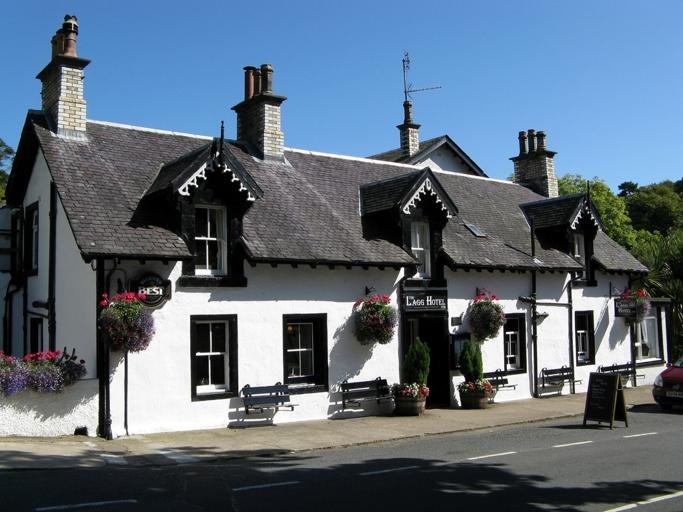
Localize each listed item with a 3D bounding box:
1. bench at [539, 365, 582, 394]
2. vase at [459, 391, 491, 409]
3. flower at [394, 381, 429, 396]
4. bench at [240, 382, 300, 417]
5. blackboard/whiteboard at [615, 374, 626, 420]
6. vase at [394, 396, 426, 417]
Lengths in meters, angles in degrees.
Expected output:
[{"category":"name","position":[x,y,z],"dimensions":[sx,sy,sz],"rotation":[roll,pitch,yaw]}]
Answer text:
[{"category":"bench","position":[7.527,4.423,37.773],"dimensions":[1.858,0.993,0.237],"rotation":[-4,6,-36]},{"category":"vase","position":[4.245,4.673,34.644],"dimensions":[0.605,0.292,0.616],"rotation":[9,-16,-31]},{"category":"flower","position":[2.101,4.161,33.128],"dimensions":[1.070,0.462,0.524],"rotation":[0,5,2]},{"category":"bench","position":[-2.244,4.120,31.142],"dimensions":[1.186,0.793,0.856],"rotation":[3,-3,-28]},{"category":"blackboard/whiteboard","position":[7.998,4.101,30.747],"dimensions":[0.381,1.493,0.861],"rotation":[1,5,15]},{"category":"vase","position":[2.100,4.659,33.095],"dimensions":[0.644,0.345,0.624],"rotation":[-6,-14,21]}]
